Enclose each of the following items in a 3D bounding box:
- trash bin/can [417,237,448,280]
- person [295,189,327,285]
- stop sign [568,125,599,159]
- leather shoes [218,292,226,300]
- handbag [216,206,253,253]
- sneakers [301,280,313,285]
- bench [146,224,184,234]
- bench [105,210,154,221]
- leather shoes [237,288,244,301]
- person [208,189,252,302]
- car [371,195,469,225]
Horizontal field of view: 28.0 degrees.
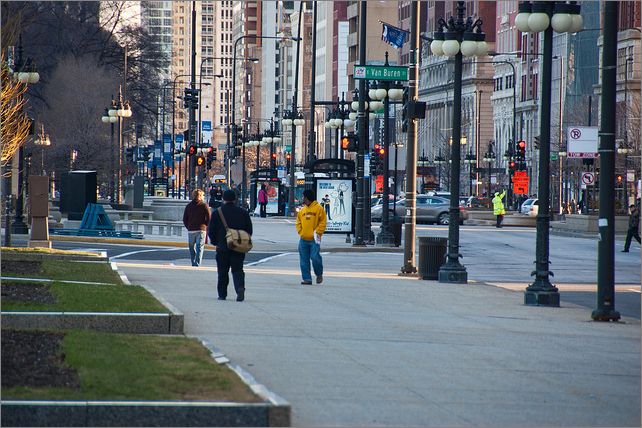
[{"bbox_3d":[3.733,1.487,43.143,1.150,1.556,1.212,1,-3,-19],"label":"trash bin/can"},{"bbox_3d":[-0.345,0.761,40.591,0.909,2.963,0.973,0,-2,-13],"label":"person"},{"bbox_3d":[7.596,-2.035,36.996,1.062,1.215,0.152,1,-8,6],"label":"stop sign"},{"bbox_3d":[-2.824,2.372,36.662,0.230,0.246,0.142,1,-2,43],"label":"leather shoes"},{"bbox_3d":[-2.525,0.475,36.871,0.811,1.489,0.622,14,-44,-46],"label":"handbag"},{"bbox_3d":[-0.431,2.155,40.476,0.285,0.135,0.121,3,0,-11],"label":"sneakers"},{"bbox_3d":[-7.124,0.663,57.524,1.528,0.522,4.317,0,2,-9],"label":"bench"},{"bbox_3d":[-9.184,0.039,62.455,1.672,0.654,9.278,0,2,-4],"label":"bench"},{"bbox_3d":[-2.301,2.316,36.637,0.182,0.387,0.276,0,2,-3],"label":"leather shoes"},{"bbox_3d":[-2.499,0.888,37.134,1.086,3.022,1.505,0,0,-15],"label":"person"},{"bbox_3d":[5.887,-0.215,75.446,4.751,1.752,2.334,3,0,4],"label":"car"}]
